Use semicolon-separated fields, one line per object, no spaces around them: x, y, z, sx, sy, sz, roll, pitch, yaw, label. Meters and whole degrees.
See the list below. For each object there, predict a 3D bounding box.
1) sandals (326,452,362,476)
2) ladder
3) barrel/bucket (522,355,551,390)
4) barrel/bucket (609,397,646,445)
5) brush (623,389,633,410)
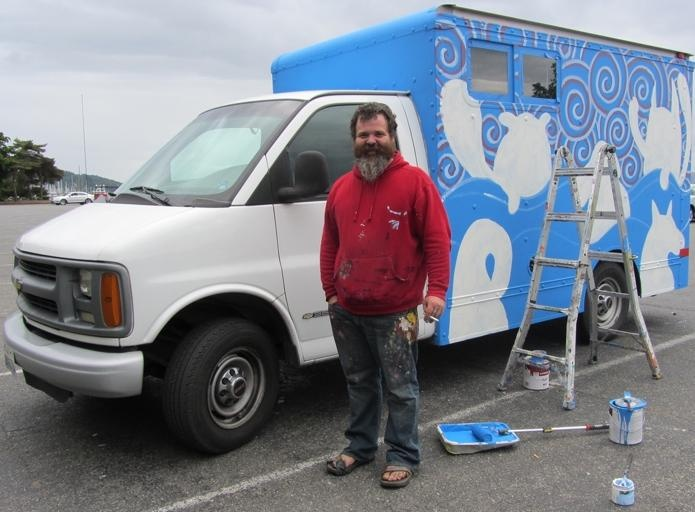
-0.037;1.571;3.996;0.117;0.104;0.272;-3;-8;36;sandals
2.236;0.076;5.931;1.707;3.454;1.437;-5;7;-31;ladder
1.899;1.158;5.445;0.299;0.341;0.305;-1;2;0;barrel/bucket
2.306;1.320;4.341;0.281;0.386;0.246;2;10;18;barrel/bucket
2.299;1.184;4.330;0.036;0.165;0.109;2;11;32;brush
